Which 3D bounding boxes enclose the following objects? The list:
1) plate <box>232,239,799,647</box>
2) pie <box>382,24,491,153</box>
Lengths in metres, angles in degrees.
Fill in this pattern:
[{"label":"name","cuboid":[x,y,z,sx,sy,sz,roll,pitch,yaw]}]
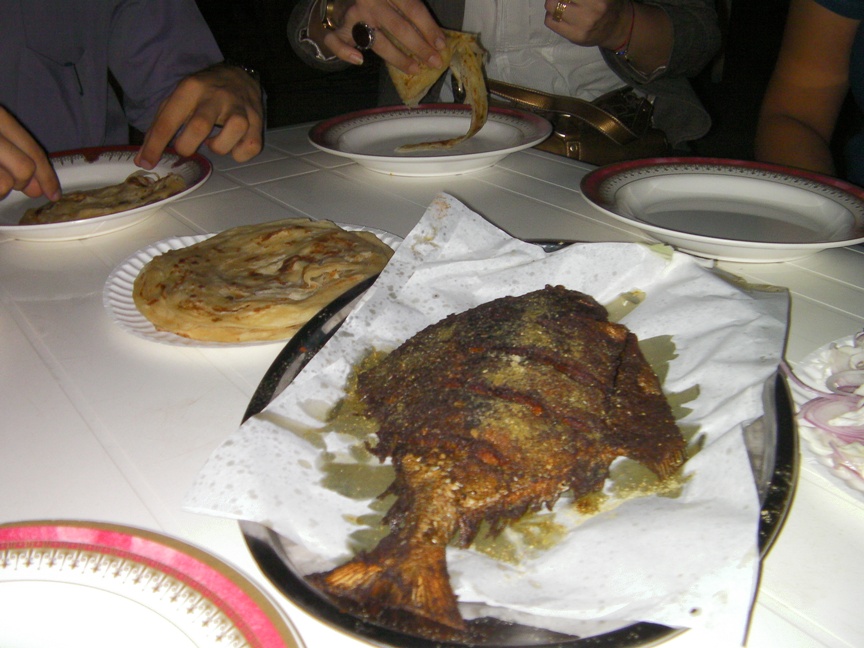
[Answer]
[{"label":"plate","cuboid":[0.116,0.093,0.763,0.672,0.201,0.533,4,33,-3]},{"label":"pie","cuboid":[0.040,-0.584,1.543,0.337,0.098,0.344,6,55,1]}]
